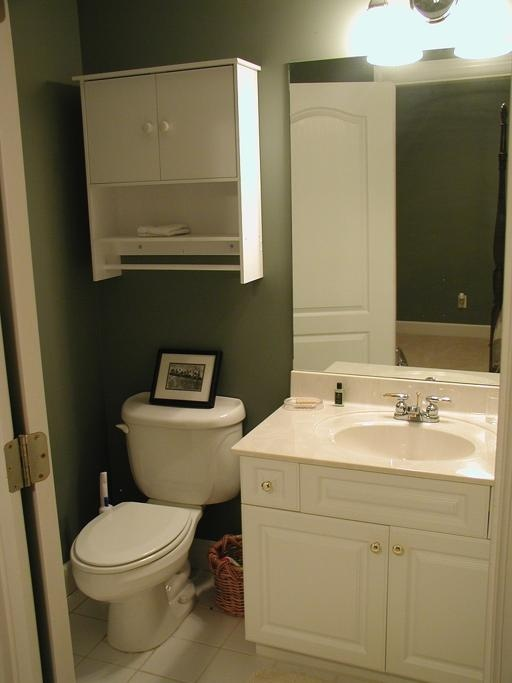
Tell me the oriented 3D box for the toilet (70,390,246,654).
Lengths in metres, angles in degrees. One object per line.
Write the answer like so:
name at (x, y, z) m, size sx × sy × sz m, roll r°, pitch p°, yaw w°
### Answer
toilet at (-0.415, 0.659, 2.154) m, size 0.492 × 0.958 × 0.810 m, roll 1°, pitch 5°, yaw 16°

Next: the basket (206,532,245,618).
basket at (-0.076, 0.903, 2.194) m, size 0.188 × 0.223 × 0.194 m, roll -10°, pitch -3°, yaw 35°

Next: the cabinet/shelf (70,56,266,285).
cabinet/shelf at (-0.304, -0.637, 2.035) m, size 0.565 × 0.861 × 0.251 m, roll 4°, pitch 14°, yaw 22°
